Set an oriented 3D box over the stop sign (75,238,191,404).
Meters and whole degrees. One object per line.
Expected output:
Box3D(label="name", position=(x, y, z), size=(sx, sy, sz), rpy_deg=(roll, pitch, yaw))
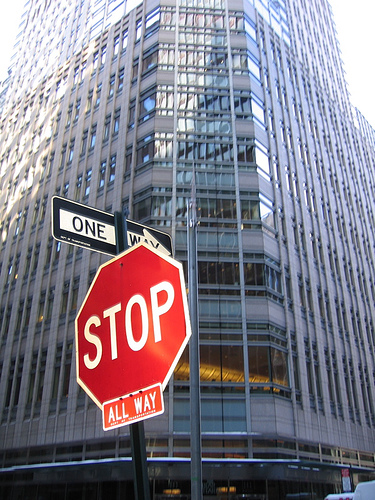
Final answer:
Box3D(label="stop sign", position=(-0.336, 0.347, 2.632), size=(0.153, 1.035, 1.340), rpy_deg=(15, -32, -32))
